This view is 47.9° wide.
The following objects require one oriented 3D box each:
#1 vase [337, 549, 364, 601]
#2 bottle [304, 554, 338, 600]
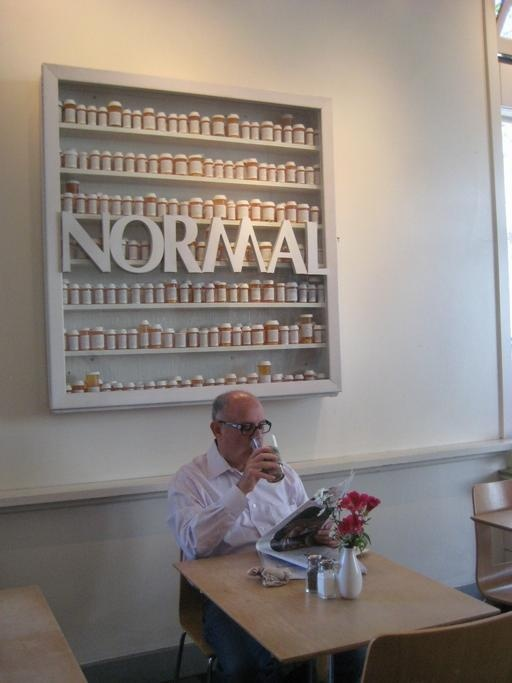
[{"bbox_3d":[0.203,0.508,1.272,0.064,0.102,0.062,7,-11,-13],"label":"vase"},{"bbox_3d":[0.122,0.532,1.300,0.093,0.090,0.049,8,-10,-34],"label":"bottle"}]
